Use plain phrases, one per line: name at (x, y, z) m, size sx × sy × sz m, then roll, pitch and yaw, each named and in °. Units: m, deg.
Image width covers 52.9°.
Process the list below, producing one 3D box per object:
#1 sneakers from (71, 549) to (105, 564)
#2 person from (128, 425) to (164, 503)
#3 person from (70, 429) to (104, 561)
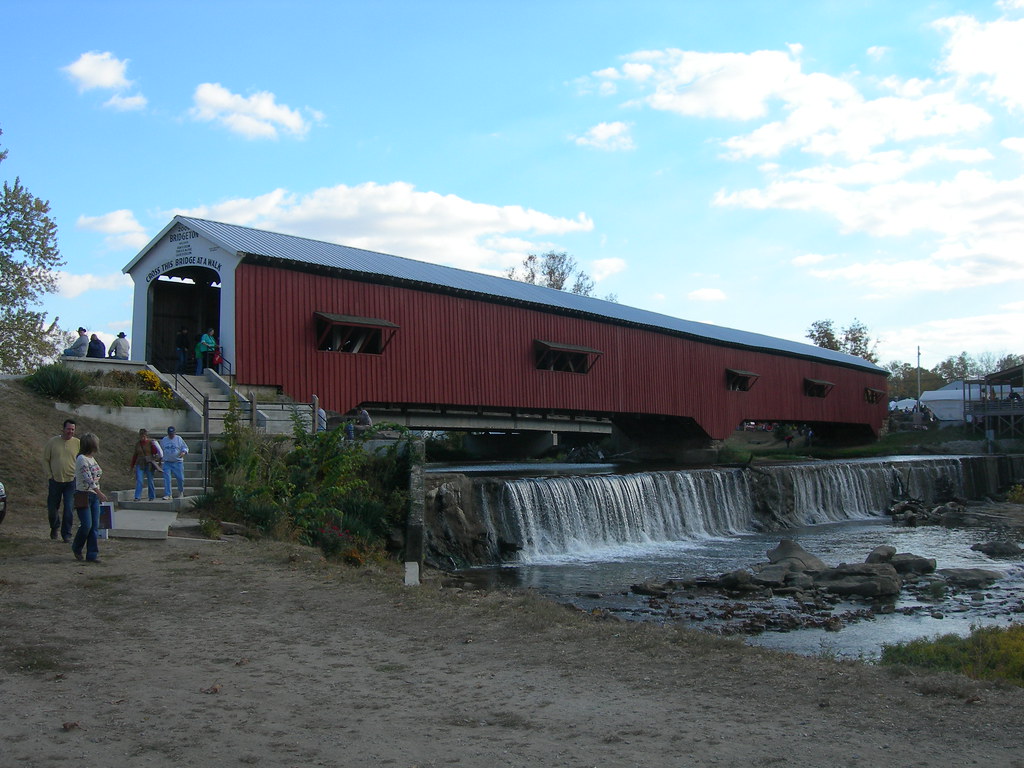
sneakers at (-5.811, 2.376, 14.162) m, size 0.511 × 0.216 × 0.158 m, roll -1°, pitch -5°, yaw 16°
person at (-6.478, 1.369, 18.272) m, size 0.484 × 1.309 × 1.733 m, roll 6°, pitch 3°, yaw -19°
person at (-5.880, 1.583, 14.306) m, size 0.405 × 1.705 × 0.824 m, roll 6°, pitch 3°, yaw -23°
